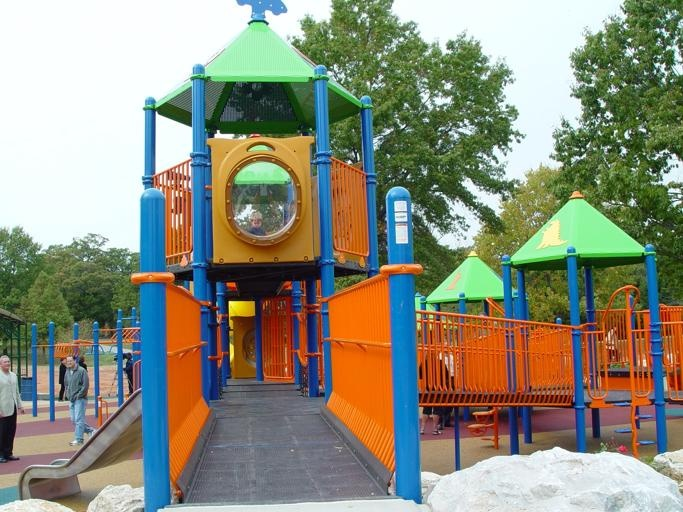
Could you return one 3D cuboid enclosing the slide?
[{"bbox_3d":[-3.900,3.147,13.431,2.525,2.062,1.447,-2,-1,23],"label":"slide"}]

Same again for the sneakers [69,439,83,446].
[{"bbox_3d":[-6.007,4.244,18.642,0.324,0.168,0.142,8,-19,-8],"label":"sneakers"}]

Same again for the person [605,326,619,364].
[{"bbox_3d":[6.554,2.180,19.894,0.233,0.822,2.655,-4,-9,17],"label":"person"}]
